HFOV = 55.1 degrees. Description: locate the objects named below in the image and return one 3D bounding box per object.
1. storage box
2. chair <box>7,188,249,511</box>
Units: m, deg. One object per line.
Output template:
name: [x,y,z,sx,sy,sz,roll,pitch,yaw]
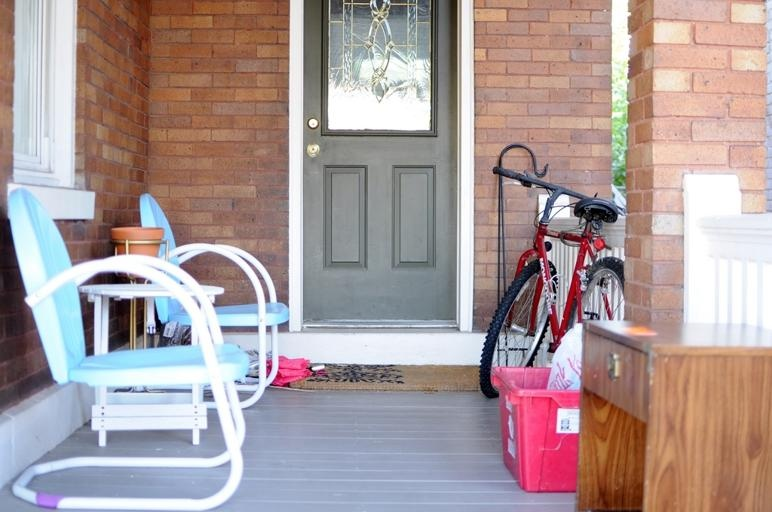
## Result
storage box: [0.710,0.770,3.266,0.458,0.403,0.582,3,-2,-2]
chair: [-1.021,0.350,2.947,0.929,1.194,0.582,0,12,-7]
